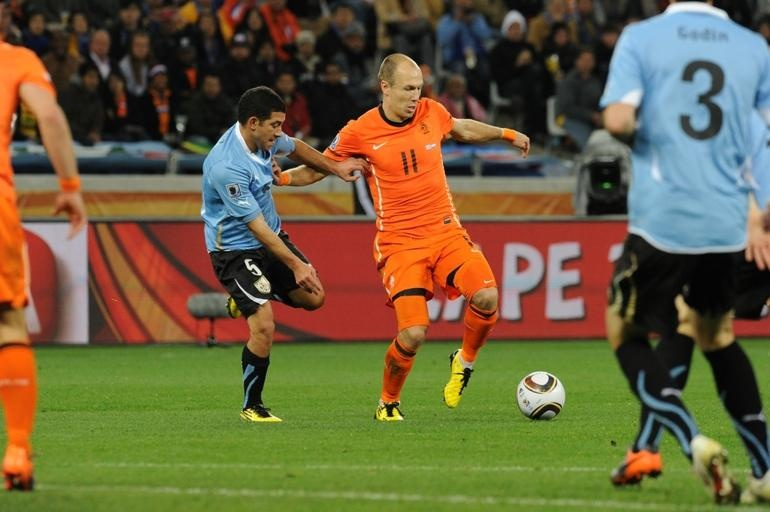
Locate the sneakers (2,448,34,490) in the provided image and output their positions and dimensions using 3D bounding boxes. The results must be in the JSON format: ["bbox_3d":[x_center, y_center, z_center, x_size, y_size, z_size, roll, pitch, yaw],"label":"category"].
[{"bbox_3d":[-2.254,1.312,6.732,0.162,0.277,0.081,3,-13,-23],"label":"sneakers"}]

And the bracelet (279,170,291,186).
[{"bbox_3d":[-0.821,-0.633,8.895,0.095,0.098,0.100,-4,5,-10],"label":"bracelet"}]

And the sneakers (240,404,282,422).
[{"bbox_3d":[-0.981,1.219,8.606,0.321,0.119,0.129,-1,-5,24],"label":"sneakers"}]

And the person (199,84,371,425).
[{"bbox_3d":[-0.985,-0.036,8.715,0.945,2.577,0.680,0,3,-5],"label":"person"}]

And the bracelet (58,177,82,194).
[{"bbox_3d":[-2.021,-0.456,7.044,0.109,0.088,0.105,-1,6,19],"label":"bracelet"}]

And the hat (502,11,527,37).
[{"bbox_3d":[2.060,-3.758,17.513,0.368,0.348,0.544,0,-2,3],"label":"hat"}]

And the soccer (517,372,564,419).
[{"bbox_3d":[1.212,1.102,8.756,0.348,0.355,0.345,11,-23,-23],"label":"soccer"}]

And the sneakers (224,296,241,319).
[{"bbox_3d":[-1.254,0.406,8.791,0.066,0.176,0.154,-19,-16,8],"label":"sneakers"}]

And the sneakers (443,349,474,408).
[{"bbox_3d":[0.596,1.022,8.888,0.180,0.547,0.241,28,-23,-37],"label":"sneakers"}]

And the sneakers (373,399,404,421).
[{"bbox_3d":[0.024,1.206,8.609,0.124,0.147,0.210,8,-19,-34],"label":"sneakers"}]
